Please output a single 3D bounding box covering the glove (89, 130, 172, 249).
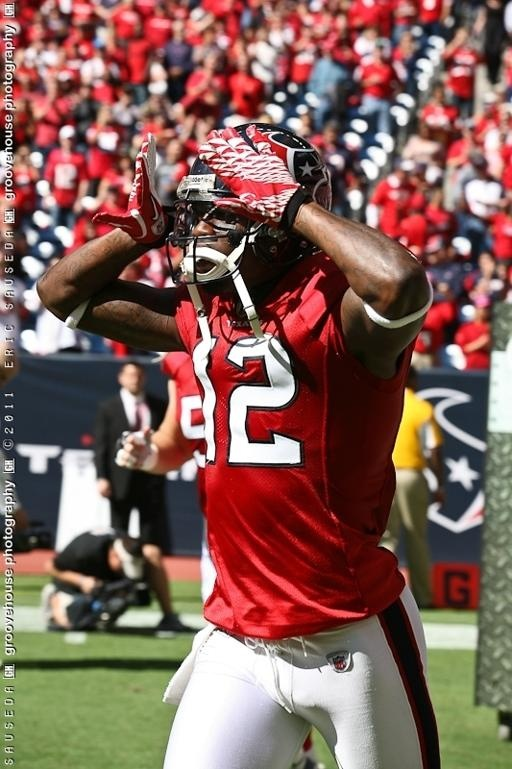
[{"bbox_3d":[-0.266,-0.394,1.780,0.145,0.271,0.094,-2,11,-29],"label":"glove"}]

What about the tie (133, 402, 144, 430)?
[{"bbox_3d":[-0.837,0.224,5.851,0.127,0.185,0.049,2,-15,-11],"label":"tie"}]

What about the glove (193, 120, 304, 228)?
[{"bbox_3d":[-0.008,-0.350,1.435,0.169,0.055,0.196,-40,56,-8],"label":"glove"}]

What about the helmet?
[{"bbox_3d":[0.025,-0.361,1.652,0.344,0.231,0.239,8,-5,-27],"label":"helmet"}]
